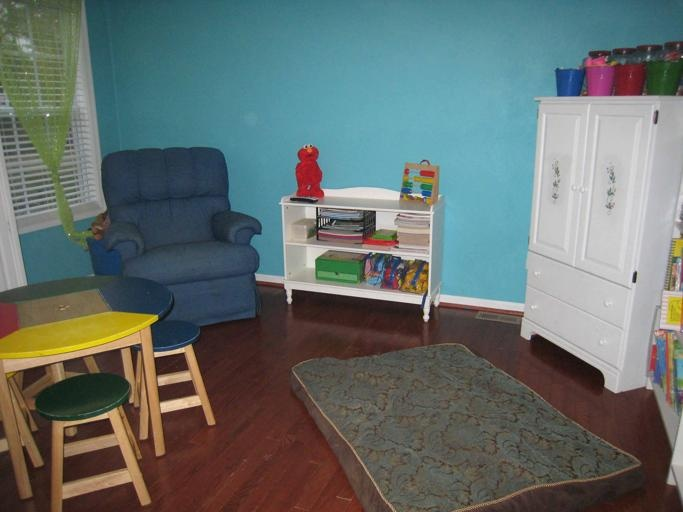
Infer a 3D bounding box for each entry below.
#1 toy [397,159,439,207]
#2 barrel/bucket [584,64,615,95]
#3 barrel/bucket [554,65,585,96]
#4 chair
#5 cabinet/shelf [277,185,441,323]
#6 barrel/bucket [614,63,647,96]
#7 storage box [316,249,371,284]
[{"bbox_3d":[0.622,-0.578,4.202,0.336,0.385,0.136,12,16,33],"label":"toy"},{"bbox_3d":[1.617,-1.098,3.329,0.176,0.192,0.172,-4,15,1],"label":"barrel/bucket"},{"bbox_3d":[1.499,-1.145,3.465,0.174,0.187,0.190,-1,9,0],"label":"barrel/bucket"},{"bbox_3d":[-1.287,-0.184,4.268,1.165,1.273,0.969,-9,19,-24],"label":"chair"},{"bbox_3d":[0.188,-0.013,4.321,0.968,0.801,0.356,5,17,17],"label":"cabinet/shelf"},{"bbox_3d":[1.778,-1.098,3.269,0.172,0.193,0.182,-5,22,2],"label":"barrel/bucket"},{"bbox_3d":[0.008,0.087,4.448,0.338,0.183,0.258,5,14,18],"label":"storage box"}]
